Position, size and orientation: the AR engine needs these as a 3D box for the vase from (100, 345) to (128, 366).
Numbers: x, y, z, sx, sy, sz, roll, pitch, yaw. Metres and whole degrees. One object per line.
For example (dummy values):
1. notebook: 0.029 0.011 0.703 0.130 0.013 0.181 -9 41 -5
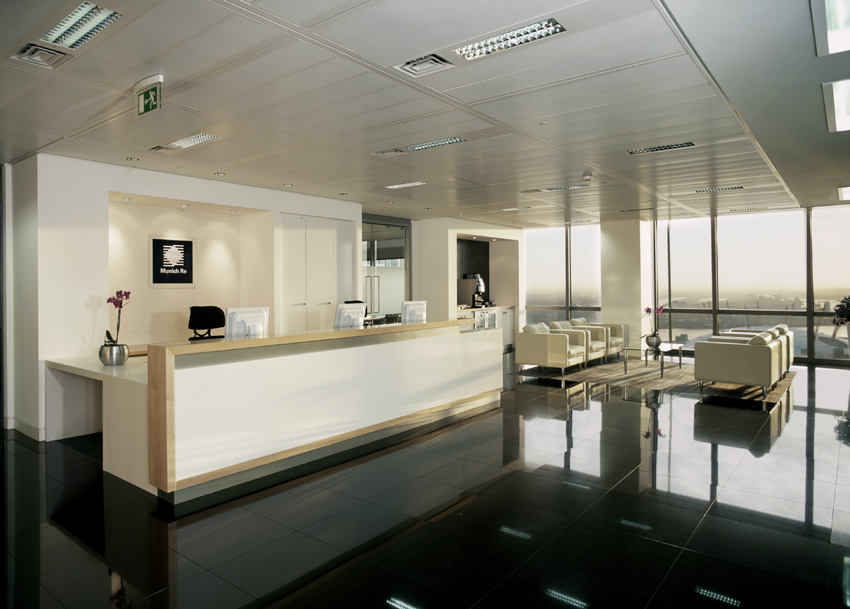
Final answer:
1. vase: -3.624 0.576 6.404 0.275 0.208 0.278 -2 4 -22

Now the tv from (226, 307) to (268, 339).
1. tv: -2.039 0.222 6.286 0.385 0.341 0.135 -1 9 -33

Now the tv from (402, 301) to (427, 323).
1. tv: -0.160 0.124 8.197 0.364 0.276 0.125 0 0 -44

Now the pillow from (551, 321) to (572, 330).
1. pillow: 2.917 0.461 11.696 0.302 0.185 0.215 2 3 -32

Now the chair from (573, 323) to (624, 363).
1. chair: 3.971 0.775 12.526 1.026 0.609 1.019 -1 3 31

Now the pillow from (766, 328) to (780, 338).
1. pillow: 6.045 0.503 9.533 0.314 0.175 0.217 -2 0 -43

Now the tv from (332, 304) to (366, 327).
1. tv: -0.989 0.163 7.434 0.565 0.375 0.281 1 -1 -41

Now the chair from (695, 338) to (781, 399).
1. chair: 5.038 0.936 8.761 0.864 0.624 1.612 2 0 37

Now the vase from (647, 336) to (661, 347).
1. vase: 4.444 0.712 10.631 0.225 0.181 0.211 -2 4 -9

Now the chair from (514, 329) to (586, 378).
1. chair: 2.583 0.962 11.213 1.121 0.785 1.495 1 0 33

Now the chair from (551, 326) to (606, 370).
1. chair: 3.171 0.943 11.671 1.035 0.839 0.996 -1 -1 40
